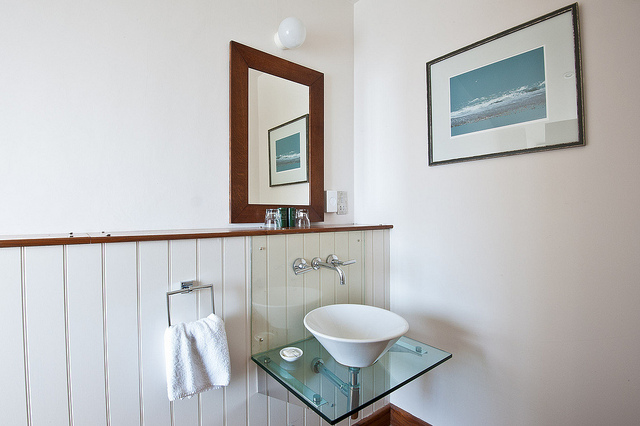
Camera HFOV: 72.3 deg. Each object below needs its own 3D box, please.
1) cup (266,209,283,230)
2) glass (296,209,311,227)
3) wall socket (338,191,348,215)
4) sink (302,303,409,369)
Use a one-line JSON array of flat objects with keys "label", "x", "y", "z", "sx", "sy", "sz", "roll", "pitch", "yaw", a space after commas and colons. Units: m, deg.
[{"label": "cup", "x": -0.266, "y": 0.035, "z": 2.497, "sx": 0.106, "sy": 0.091, "sz": 0.104, "roll": -4, "pitch": 1, "yaw": 0}, {"label": "glass", "x": -0.103, "y": 0.034, "z": 2.631, "sx": 0.088, "sy": 0.103, "sz": 0.090, "roll": -1, "pitch": 1, "yaw": -15}, {"label": "wall socket", "x": 0.152, "y": -0.066, "z": 2.911, "sx": 0.017, "sy": 0.110, "sz": 0.097, "roll": -2, "pitch": 2, "yaw": 40}, {"label": "sink", "x": 0.201, "y": 0.605, "z": 2.223, "sx": 0.348, "sy": 0.141, "sz": 0.350, "roll": -3, "pitch": 4, "yaw": -28}]
